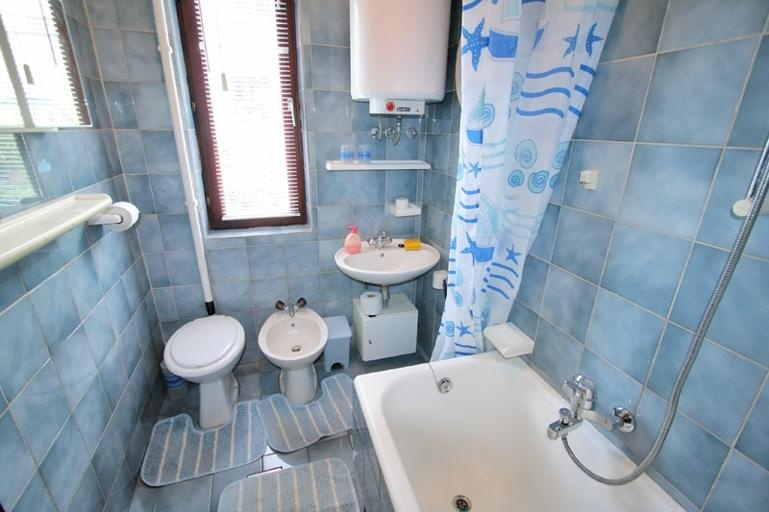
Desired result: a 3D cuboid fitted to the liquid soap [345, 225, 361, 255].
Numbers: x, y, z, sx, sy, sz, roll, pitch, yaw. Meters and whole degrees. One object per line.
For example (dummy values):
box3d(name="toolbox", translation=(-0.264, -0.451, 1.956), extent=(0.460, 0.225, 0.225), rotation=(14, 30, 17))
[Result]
box3d(name="liquid soap", translation=(-0.224, -0.106, 3.259), extent=(0.125, 0.125, 0.189), rotation=(-19, -55, -39))

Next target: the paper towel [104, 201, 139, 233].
box3d(name="paper towel", translation=(-1.440, -0.241, 2.639), extent=(0.172, 0.200, 0.165), rotation=(6, -71, -14))

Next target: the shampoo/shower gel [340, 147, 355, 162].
box3d(name="shampoo/shower gel", translation=(-0.249, -0.684, 3.180), extent=(0.088, 0.087, 0.105), rotation=(-16, -69, -52))

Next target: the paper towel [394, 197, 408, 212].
box3d(name="paper towel", translation=(0.123, -0.360, 3.264), extent=(0.083, 0.085, 0.066), rotation=(1, -77, -4))

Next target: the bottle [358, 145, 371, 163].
box3d(name="bottle", translation=(-0.134, -0.684, 3.146), extent=(0.097, 0.099, 0.118), rotation=(-5, -69, -19))

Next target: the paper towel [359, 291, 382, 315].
box3d(name="paper towel", translation=(-0.083, 0.315, 3.281), extent=(0.163, 0.174, 0.136), rotation=(-5, -48, -17))

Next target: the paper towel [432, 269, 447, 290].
box3d(name="paper towel", translation=(0.358, 0.152, 3.073), extent=(0.115, 0.087, 0.104), rotation=(5, -71, 1))

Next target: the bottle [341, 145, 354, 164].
box3d(name="bottle", translation=(-0.258, -0.668, 3.130), extent=(0.097, 0.091, 0.128), rotation=(-8, -70, -29))

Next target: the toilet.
box3d(name="toilet", translation=(-1.058, 0.732, 3.165), extent=(0.516, 0.669, 0.672), rotation=(-3, -63, -13))

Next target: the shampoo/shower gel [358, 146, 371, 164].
box3d(name="shampoo/shower gel", translation=(-0.133, -0.685, 3.144), extent=(0.101, 0.103, 0.121), rotation=(-8, -65, -23))

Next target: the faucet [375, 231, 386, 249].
box3d(name="faucet", translation=(-0.021, -0.111, 3.304), extent=(0.073, 0.110, 0.112), rotation=(3, -74, 4))
